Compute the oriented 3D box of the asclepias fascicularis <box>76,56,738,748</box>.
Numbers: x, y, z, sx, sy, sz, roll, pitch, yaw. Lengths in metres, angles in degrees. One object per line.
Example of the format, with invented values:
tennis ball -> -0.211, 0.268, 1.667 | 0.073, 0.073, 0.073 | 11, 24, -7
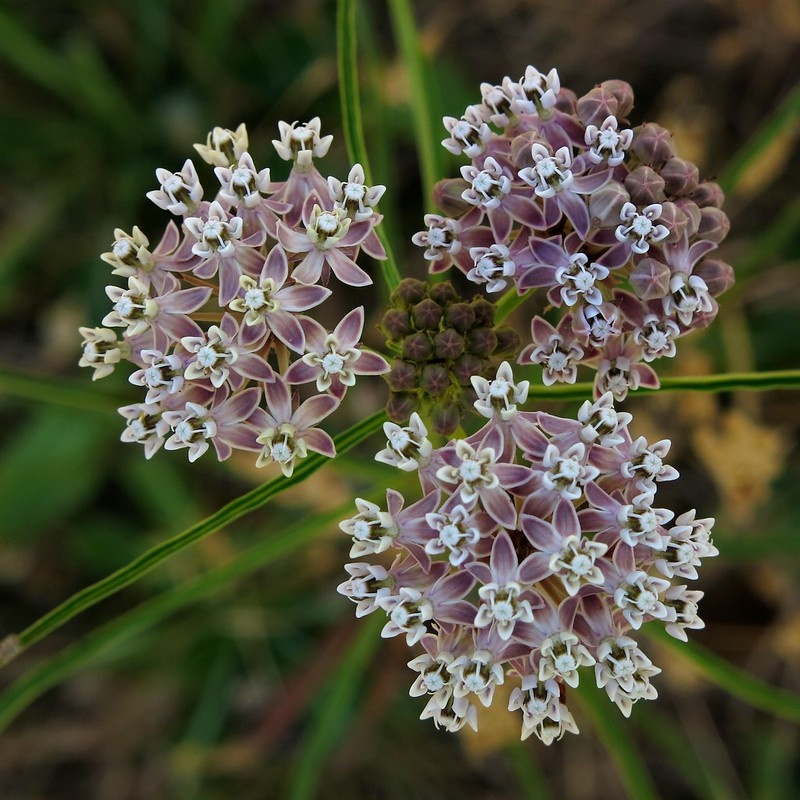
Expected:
asclepias fascicularis -> 0.105, -0.005, 3.363 | 1.786, 0.989, 1.812 | -14, 81, -1
